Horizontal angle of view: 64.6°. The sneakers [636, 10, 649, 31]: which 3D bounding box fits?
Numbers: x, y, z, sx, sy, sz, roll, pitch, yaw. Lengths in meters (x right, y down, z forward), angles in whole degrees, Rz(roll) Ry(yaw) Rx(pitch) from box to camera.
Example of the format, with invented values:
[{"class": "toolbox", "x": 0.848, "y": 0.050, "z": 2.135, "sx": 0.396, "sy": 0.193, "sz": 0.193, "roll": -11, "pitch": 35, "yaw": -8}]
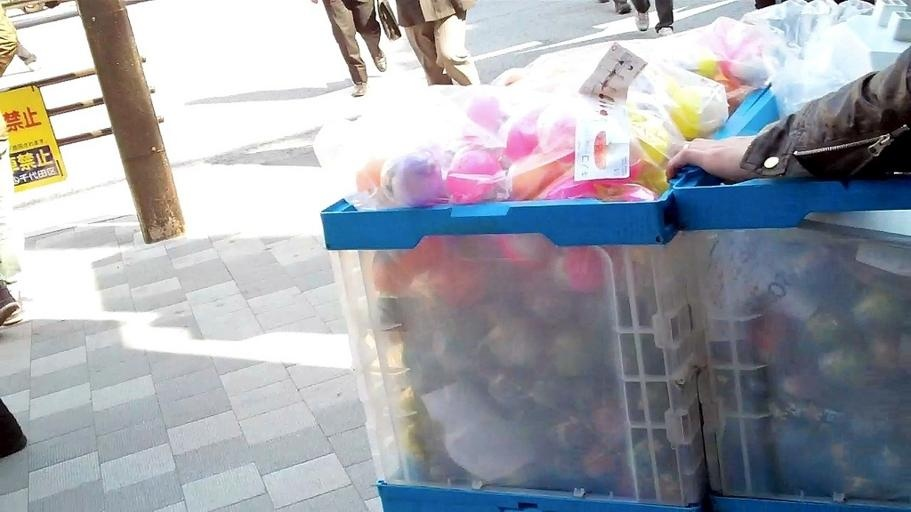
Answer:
[{"class": "sneakers", "x": 2.272, "y": -2.855, "z": 8.778, "sx": 0.099, "sy": 0.285, "sz": 0.124, "roll": 1, "pitch": 6, "yaw": 3}]
